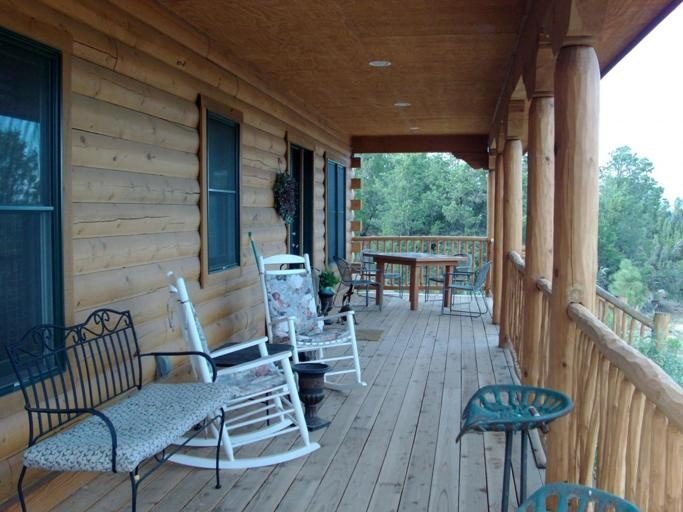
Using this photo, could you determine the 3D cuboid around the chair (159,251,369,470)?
[{"bbox_3d":[-0.802,0.808,4.199,1.570,1.736,1.116,2,1,23],"label":"chair"}]
